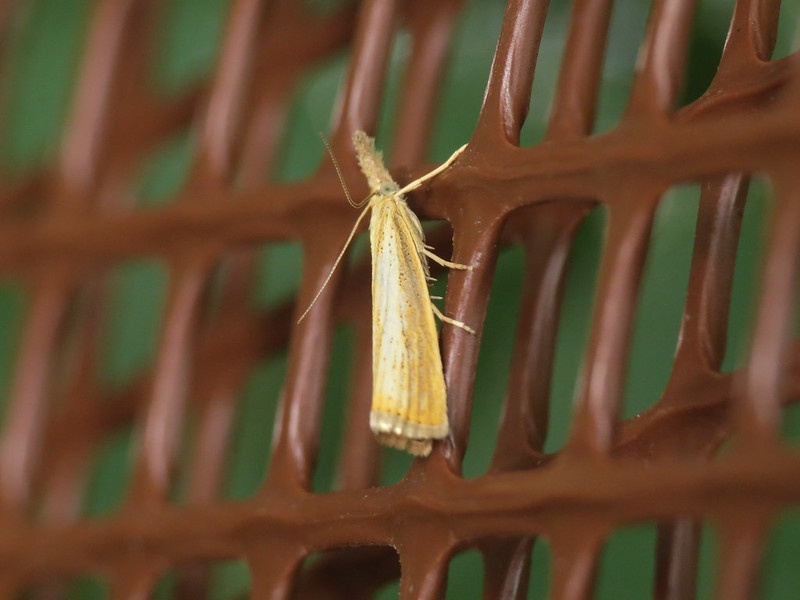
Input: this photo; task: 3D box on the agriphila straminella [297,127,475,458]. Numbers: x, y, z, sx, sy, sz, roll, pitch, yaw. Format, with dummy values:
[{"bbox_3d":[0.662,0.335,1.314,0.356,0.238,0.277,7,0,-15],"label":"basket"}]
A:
[{"bbox_3d":[0.003,-0.008,1.536,0.196,0.383,0.051,-12,-22,31],"label":"agriphila straminella"}]
